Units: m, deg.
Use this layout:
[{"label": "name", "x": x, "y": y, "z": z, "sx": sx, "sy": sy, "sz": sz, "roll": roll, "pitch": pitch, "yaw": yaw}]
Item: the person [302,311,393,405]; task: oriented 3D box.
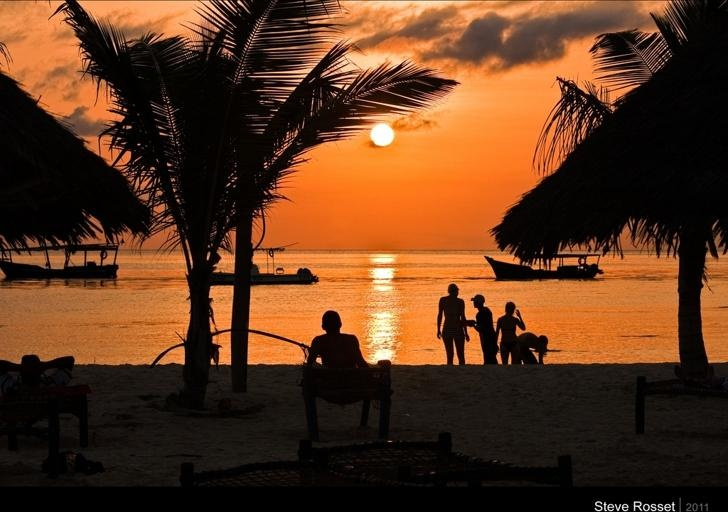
[{"label": "person", "x": -0.392, "y": 1.270, "z": 20.345, "sx": 1.044, "sy": 1.373, "sz": 0.892, "roll": -10, "pitch": 16, "yaw": 6}]

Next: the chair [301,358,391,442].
[{"label": "chair", "x": -0.260, "y": 2.087, "z": 20.054, "sx": 1.291, "sy": 0.937, "sz": 1.193, "roll": 0, "pitch": -5, "yaw": -4}]

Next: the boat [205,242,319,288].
[{"label": "boat", "x": -6.100, "y": 0.860, "z": 81.774, "sx": 7.398, "sy": 2.365, "sz": 1.647, "roll": -1, "pitch": -9, "yaw": -27}]
